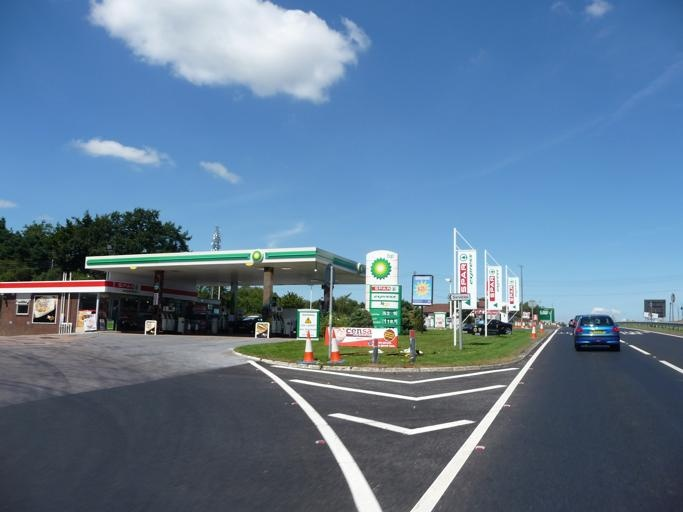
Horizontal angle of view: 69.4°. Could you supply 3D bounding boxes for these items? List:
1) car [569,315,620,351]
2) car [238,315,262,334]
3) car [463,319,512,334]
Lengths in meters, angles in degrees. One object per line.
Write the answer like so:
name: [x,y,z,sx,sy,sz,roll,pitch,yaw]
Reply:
car: [12.447,3.724,24.043,1.863,1.550,0.847,-1,-8,19]
car: [-8.085,6.242,44.524,1.434,1.131,2.344,-2,-12,10]
car: [14.887,7.323,49.612,3.589,1.179,2.275,5,-12,-4]
